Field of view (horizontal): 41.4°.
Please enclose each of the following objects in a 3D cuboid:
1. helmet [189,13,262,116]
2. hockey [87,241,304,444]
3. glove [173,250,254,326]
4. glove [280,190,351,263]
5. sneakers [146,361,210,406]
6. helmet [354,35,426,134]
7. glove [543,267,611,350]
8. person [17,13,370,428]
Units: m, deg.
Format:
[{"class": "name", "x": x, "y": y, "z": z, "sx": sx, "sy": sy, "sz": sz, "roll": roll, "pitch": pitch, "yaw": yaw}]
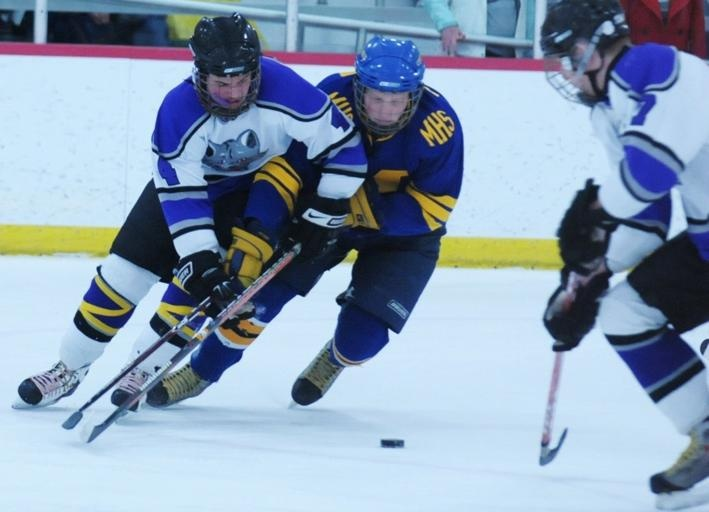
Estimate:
[{"class": "helmet", "x": -0.515, "y": -0.754, "z": 3.661, "sx": 0.301, "sy": 0.352, "sz": 0.372, "roll": 0, "pitch": -3, "yaw": -13}, {"class": "hockey", "x": -0.628, "y": 0.350, "z": 3.679, "sx": 0.056, "sy": 1.054, "sz": 0.119, "roll": 55, "pitch": 15, "yaw": 21}, {"class": "glove", "x": -0.543, "y": 0.117, "z": 3.541, "sx": 0.276, "sy": 0.119, "sz": 0.197, "roll": 35, "pitch": 24, "yaw": -30}, {"class": "glove", "x": -0.168, "y": -0.129, "z": 3.733, "sx": 0.175, "sy": 0.243, "sz": 0.145, "roll": 33, "pitch": 9, "yaw": -29}, {"class": "sneakers", "x": -0.710, "y": 0.530, "z": 3.825, "sx": 0.295, "sy": 0.123, "sz": 0.097, "roll": -22, "pitch": 73, "yaw": -49}, {"class": "helmet", "x": 0.127, "y": -0.684, "z": 3.794, "sx": 0.293, "sy": 0.353, "sz": 0.359, "roll": 5, "pitch": 58, "yaw": 1}, {"class": "glove", "x": 0.776, "y": 0.190, "z": 3.331, "sx": 0.186, "sy": 0.314, "sz": 0.098, "roll": 31, "pitch": 15, "yaw": 35}, {"class": "person", "x": -0.761, "y": -0.132, "z": 4.208, "sx": 1.399, "sy": 1.916, "sz": 1.138, "roll": 20, "pitch": 16, "yaw": -20}]
